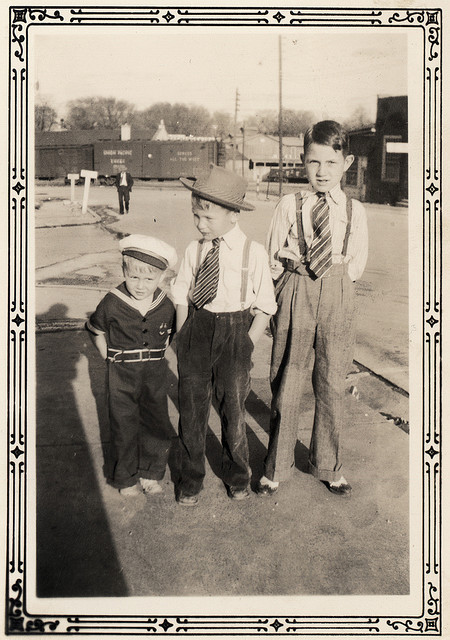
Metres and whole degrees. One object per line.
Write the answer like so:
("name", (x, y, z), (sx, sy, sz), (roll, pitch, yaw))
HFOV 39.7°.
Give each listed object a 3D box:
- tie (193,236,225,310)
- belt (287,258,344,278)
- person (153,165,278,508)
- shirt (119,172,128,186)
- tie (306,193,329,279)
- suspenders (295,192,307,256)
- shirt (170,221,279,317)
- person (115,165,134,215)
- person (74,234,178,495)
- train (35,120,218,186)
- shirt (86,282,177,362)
("tie", (-0.089, -0.237, 3.143), (0.130, 0.362, 0.140), (5, 12, 24))
("belt", (0.464, -0.273, 3.273), (0.306, 0.069, 0.115), (6, 15, 19))
("person", (-0.039, -0.017, 3.665), (0.658, 1.764, 1.135), (0, 12, 1))
("shirt", (-2.361, -3.285, 14.418), (0.121, 0.298, 0.067), (-1, 4, 9))
("tie", (0.475, -0.432, 3.219), (0.117, 0.418, 0.187), (2, 12, 8))
("suspenders", (0.386, -0.540, 3.268), (0.037, 0.214, 0.020), (-19, 16, -40))
("shirt", (0.008, -0.453, 3.281), (0.612, 0.752, 0.376), (7, 9, 13))
("person", (-2.387, -3.053, 14.682), (0.339, 1.042, 0.927), (-1, 13, -5))
("person", (-0.450, 0.236, 3.295), (0.464, 1.430, 0.408), (-2, 18, -13))
("train", (-3.728, -5.909, 22.060), (6.379, 2.162, 1.532), (2, 12, 6))
("shirt", (-0.482, 0.022, 3.223), (0.451, 0.382, 0.101), (-5, 12, -19))
